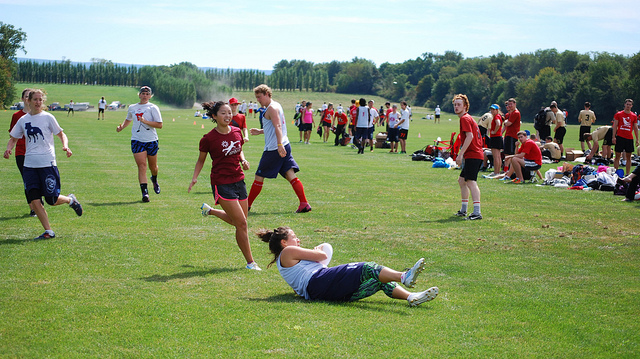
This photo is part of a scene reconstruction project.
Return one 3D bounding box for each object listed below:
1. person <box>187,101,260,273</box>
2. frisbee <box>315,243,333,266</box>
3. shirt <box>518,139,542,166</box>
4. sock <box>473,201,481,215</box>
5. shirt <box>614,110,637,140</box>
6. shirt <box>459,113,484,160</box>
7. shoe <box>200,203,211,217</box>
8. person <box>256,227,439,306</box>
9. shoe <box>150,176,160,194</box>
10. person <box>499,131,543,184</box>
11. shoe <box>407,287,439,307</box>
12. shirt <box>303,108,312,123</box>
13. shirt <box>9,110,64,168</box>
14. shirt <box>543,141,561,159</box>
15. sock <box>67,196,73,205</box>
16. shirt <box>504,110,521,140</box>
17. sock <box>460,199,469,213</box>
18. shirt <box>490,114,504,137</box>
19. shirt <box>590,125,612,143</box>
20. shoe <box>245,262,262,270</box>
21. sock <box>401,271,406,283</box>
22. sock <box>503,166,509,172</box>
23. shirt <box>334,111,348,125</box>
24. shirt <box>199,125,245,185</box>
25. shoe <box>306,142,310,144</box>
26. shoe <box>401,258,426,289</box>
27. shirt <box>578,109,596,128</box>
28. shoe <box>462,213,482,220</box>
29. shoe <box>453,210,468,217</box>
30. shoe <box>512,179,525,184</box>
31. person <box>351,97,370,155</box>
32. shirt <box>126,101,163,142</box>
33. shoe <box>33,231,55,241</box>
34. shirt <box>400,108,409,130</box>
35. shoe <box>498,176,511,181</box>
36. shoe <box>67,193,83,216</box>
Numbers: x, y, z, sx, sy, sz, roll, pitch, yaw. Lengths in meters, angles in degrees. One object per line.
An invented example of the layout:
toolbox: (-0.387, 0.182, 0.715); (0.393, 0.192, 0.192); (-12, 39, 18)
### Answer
person: (-2.270, 0.111, 15.200); (1.587, 3.803, 1.020); (10, 11, 41)
frisbee: (0.114, 1.612, 14.053); (0.178, 0.399, 0.355); (15, -18, -36)
shirt: (7.765, -1.002, 23.874); (0.894, 0.916, 0.807); (0, 0, 15)
sock: (4.489, 0.796, 18.559); (0.217, 0.373, 0.248); (4, 9, 12)
shirt: (11.746, -2.079, 24.837); (0.766, 1.040, 0.570); (3, 9, 8)
shirt: (4.390, -1.260, 18.812); (0.702, 1.296, 0.864); (4, 9, 11)
shoe: (-2.680, 0.721, 15.115); (0.260, 0.269, 0.312); (1, -13, -4)
person: (0.477, 1.873, 14.204); (4.001, 1.380, 1.137); (1, -4, 20)
shoe: (-5.205, 0.188, 20.446); (0.215, 0.555, 0.239); (-27, 9, -21)
person: (7.466, -0.841, 24.106); (1.283, 1.858, 1.400); (2, 8, -4)
shoe: (2.151, 2.472, 13.764); (0.769, 0.247, 0.379); (-27, -49, 26)
shirt: (-0.684, -3.491, 35.506); (0.451, 0.783, 0.509); (2, 8, 1)
shirt: (-7.281, -1.047, 16.579); (1.098, 1.430, 0.650); (1, 9, -7)
shirt: (9.906, -1.217, 27.542); (0.835, 0.690, 0.399); (1, 9, -7)
sock: (-6.645, 0.551, 17.162); (0.070, 0.191, 0.111); (-6, 12, -44)
shirt: (7.605, -2.155, 25.545); (0.509, 1.144, 0.602); (5, 9, 15)
sock: (4.193, 0.749, 18.878); (0.197, 0.384, 0.310); (4, 9, 10)
shirt: (6.953, -2.025, 24.930); (0.751, 1.070, 1.199); (2, 4, 13)
shirt: (12.314, -1.958, 28.352); (0.726, 0.725, 1.038); (5, 9, 22)
shoe: (-1.580, 2.023, 15.122); (0.387, 0.137, 0.133); (4, 1, 1)
sock: (1.743, 2.047, 13.584); (0.102, 0.192, 0.077); (17, -6, -18)
sock: (7.205, -0.398, 25.056); (0.139, 0.256, 0.389); (3, 8, 8)
shirt: (1.174, -3.357, 35.809); (0.533, 0.675, 1.018); (2, 8, 0)
shirt: (-2.316, -0.555, 15.257); (0.958, 1.324, 0.581); (1, 9, -11)
shoe: (-0.724, -2.040, 36.440); (0.209, 0.171, 0.072); (-4, 9, -32)
shoe: (1.975, 1.944, 13.615); (0.299, 0.184, 0.562); (43, 19, -6)
shirt: (13.048, -2.973, 31.620); (0.623, 0.844, 0.881); (5, 9, 19)
shoe: (4.348, 1.072, 18.482); (0.577, 0.205, 0.188); (1, -2, 6)
shoe: (4.063, 0.995, 18.840); (0.351, 0.130, 0.118); (2, 0, 13)
shoe: (7.295, 0.068, 23.792); (0.567, 0.128, 0.301); (-5, 11, -42)
person: (2.032, -2.623, 32.079); (1.085, 2.682, 0.891); (4, 4, -12)
shirt: (-5.388, -1.765, 19.972); (1.500, 1.197, 0.759); (2, 13, 23)
shoe: (-6.943, 1.437, 16.263); (0.520, 0.183, 0.160); (-1, -3, -5)
shirt: (4.125, -2.950, 31.771); (0.503, 0.988, 1.104); (4, 8, 16)
shoe: (6.975, -0.046, 24.460); (0.432, 0.152, 0.134); (4, 0, 4)
shoe: (-6.832, 0.722, 17.935); (0.229, 0.590, 0.276); (-19, 23, 41)
